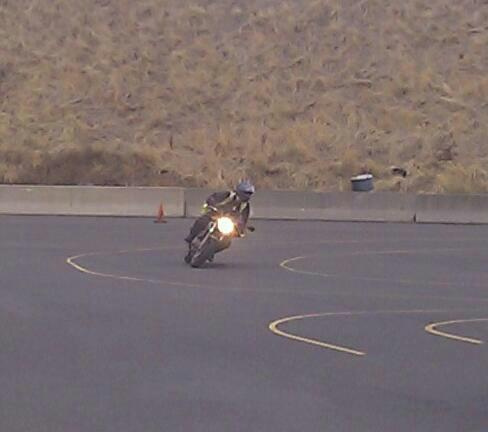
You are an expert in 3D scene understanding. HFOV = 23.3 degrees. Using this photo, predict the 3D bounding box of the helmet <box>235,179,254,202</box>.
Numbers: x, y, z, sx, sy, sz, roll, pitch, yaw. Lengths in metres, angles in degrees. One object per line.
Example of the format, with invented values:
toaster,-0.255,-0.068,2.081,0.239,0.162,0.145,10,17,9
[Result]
helmet,0.028,-0.561,25.439,0.368,0.608,0.526,14,76,-4

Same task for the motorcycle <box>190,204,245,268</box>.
motorcycle,-0.656,0.472,25.449,0.849,1.554,0.974,42,86,-8
